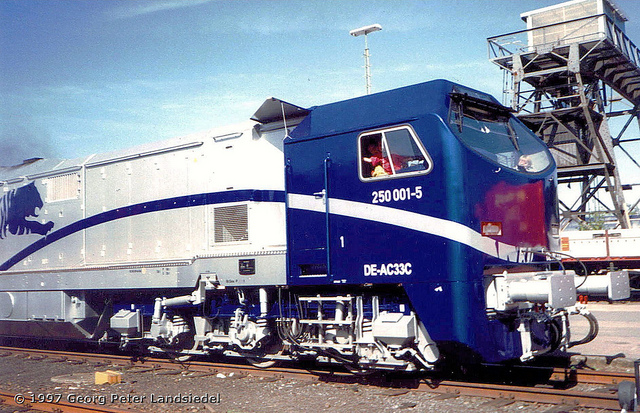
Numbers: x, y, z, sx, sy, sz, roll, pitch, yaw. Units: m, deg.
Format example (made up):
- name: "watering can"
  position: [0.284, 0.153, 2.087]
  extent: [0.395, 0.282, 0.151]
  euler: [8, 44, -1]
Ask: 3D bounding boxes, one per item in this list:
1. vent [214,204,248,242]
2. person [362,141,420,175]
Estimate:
- name: "vent"
  position: [-2.193, 0.404, 15.901]
  extent: [1.175, 0.957, 0.111]
  euler: [-3, -2, 34]
- name: "person"
  position: [1.465, -1.030, 13.992]
  extent: [0.991, 0.263, 0.583]
  euler: [10, 3, 33]
